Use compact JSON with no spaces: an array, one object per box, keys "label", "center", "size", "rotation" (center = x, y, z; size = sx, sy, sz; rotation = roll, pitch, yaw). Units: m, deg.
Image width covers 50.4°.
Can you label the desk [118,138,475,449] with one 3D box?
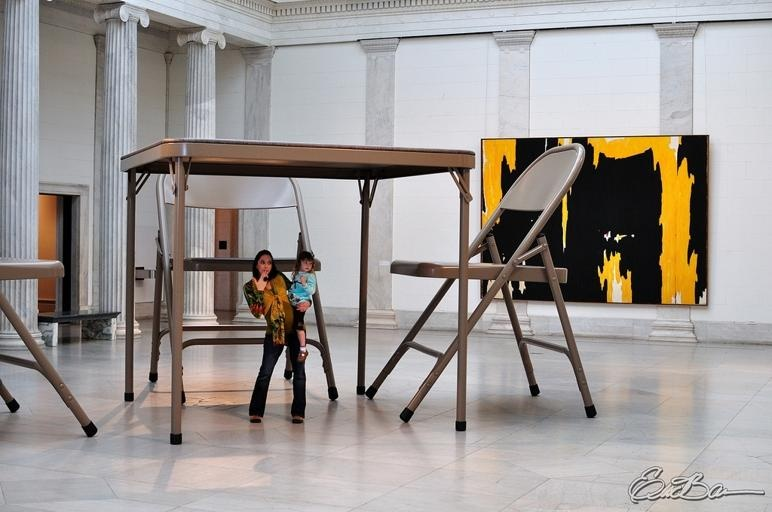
[{"label":"desk","center":[-0.821,0.201,6.868],"size":[2.563,2.132,2.004],"rotation":[0,1,-25]}]
